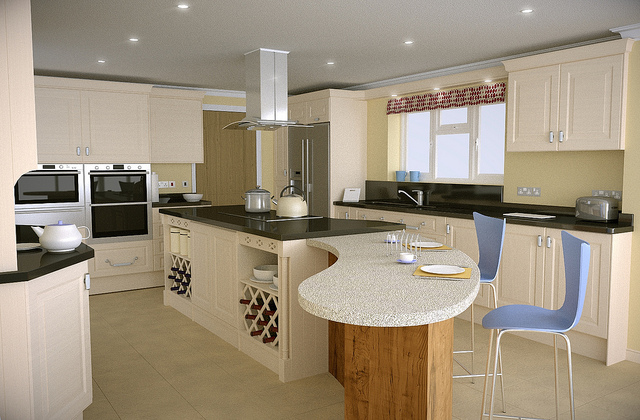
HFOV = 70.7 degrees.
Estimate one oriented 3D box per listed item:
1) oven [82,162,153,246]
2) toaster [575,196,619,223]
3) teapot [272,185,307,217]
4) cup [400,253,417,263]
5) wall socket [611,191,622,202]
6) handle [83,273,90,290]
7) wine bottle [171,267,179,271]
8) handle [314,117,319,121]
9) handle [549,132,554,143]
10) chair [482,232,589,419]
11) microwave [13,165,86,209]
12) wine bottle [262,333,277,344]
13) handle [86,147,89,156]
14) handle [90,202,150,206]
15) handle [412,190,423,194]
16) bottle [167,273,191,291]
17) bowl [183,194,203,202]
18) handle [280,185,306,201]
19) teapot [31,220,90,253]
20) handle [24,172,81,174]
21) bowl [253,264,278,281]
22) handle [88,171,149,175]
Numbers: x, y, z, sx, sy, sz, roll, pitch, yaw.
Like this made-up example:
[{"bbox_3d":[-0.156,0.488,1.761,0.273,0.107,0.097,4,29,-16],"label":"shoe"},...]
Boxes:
[{"bbox_3d":[-3.184,-0.148,6.891,1.055,1.195,1.105,6,9,30],"label":"oven"},{"bbox_3d":[2.888,-0.022,4.718,0.212,0.242,0.362,-4,8,-30],"label":"toaster"},{"bbox_3d":[-0.352,-0.109,5.059,0.462,0.327,0.347,1,8,21],"label":"teapot"},{"bbox_3d":[0.642,0.343,3.238,0.099,0.041,0.069,1,-1,-3],"label":"cup"},{"bbox_3d":[3.160,-0.150,4.801,0.023,0.147,0.136,0,0,-27],"label":"wall socket"},{"bbox_3d":[-1.751,0.534,3.378,0.026,0.115,0.070,-3,11,-11],"label":"handle"},{"bbox_3d":[-1.856,0.759,5.780,0.123,0.049,0.027,7,13,33],"label":"wine bottle"},{"bbox_3d":[-0.053,-1.460,7.220,0.013,0.051,0.101,-11,15,-43],"label":"handle"},{"bbox_3d":[2.570,-0.809,5.017,0.050,0.110,0.024,9,15,39],"label":"handle"},{"bbox_3d":[1.618,0.901,3.393,0.660,1.523,1.298,6,12,28],"label":"chair"},{"bbox_3d":[-3.550,-0.292,5.866,0.742,0.456,0.472,0,0,-34],"label":"microwave"},{"bbox_3d":[-0.485,1.217,4.277,0.172,0.136,0.044,7,13,32],"label":"wine bottle"},{"bbox_3d":[-3.315,-0.840,6.421,0.040,0.106,0.017,-6,13,-28],"label":"handle"},{"bbox_3d":[-2.924,-0.092,6.597,0.778,0.048,0.034,-5,12,-28],"label":"handle"},{"bbox_3d":[1.425,-0.269,6.612,0.111,0.048,0.042,-2,2,8],"label":"handle"},{"bbox_3d":[-1.783,0.903,5.719,0.245,0.277,0.090,3,-2,12],"label":"bottle"},{"bbox_3d":[-2.104,-0.200,7.375,0.310,0.114,0.272,0,10,-2],"label":"bowl"},{"bbox_3d":[-0.364,-0.243,6.320,0.405,0.274,0.204,1,-3,3],"label":"handle"},{"bbox_3d":[-1.946,0.178,3.384,0.386,0.202,0.278,1,12,-35],"label":"teapot"},{"bbox_3d":[-3.679,-0.513,6.233,0.646,0.045,0.048,-6,12,-31],"label":"handle"},{"bbox_3d":[-0.546,0.630,4.494,0.230,0.114,0.303,-1,10,-5],"label":"bowl"},{"bbox_3d":[-2.946,-0.542,6.598,0.801,0.048,0.032,-5,12,-27],"label":"handle"}]
